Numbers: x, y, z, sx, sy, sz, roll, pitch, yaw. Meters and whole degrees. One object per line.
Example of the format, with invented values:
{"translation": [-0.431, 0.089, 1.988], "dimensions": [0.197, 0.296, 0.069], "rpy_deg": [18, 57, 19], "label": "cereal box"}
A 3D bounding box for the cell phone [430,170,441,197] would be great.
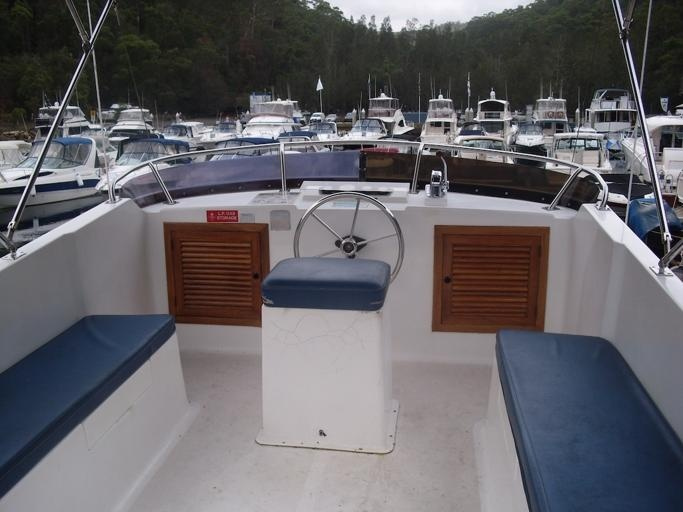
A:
{"translation": [0.438, -0.332, 2.303], "dimensions": [0.048, 0.100, 0.069], "rpy_deg": [4, 50, 4], "label": "cell phone"}

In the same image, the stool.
{"translation": [-0.057, 0.312, 2.020], "dimensions": [0.514, 0.687, 0.596], "rpy_deg": [1, 15, 7], "label": "stool"}
